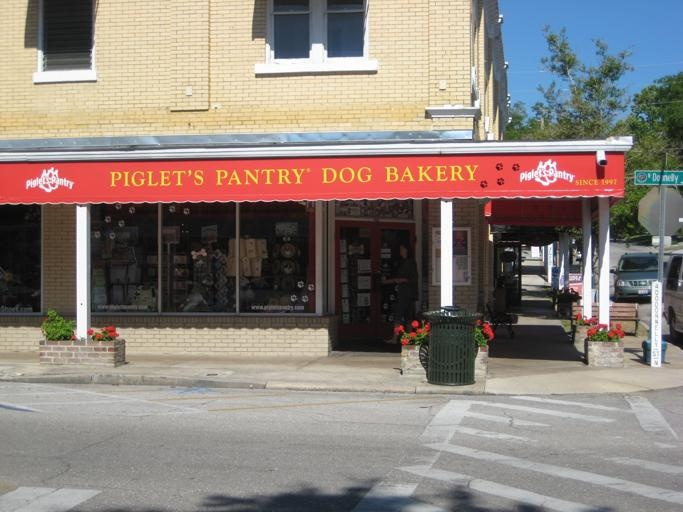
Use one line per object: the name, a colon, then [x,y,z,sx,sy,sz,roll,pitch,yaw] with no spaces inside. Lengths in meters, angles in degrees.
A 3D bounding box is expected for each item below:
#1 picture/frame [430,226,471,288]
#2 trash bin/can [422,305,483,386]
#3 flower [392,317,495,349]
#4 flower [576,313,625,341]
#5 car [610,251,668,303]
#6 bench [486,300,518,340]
picture/frame: [2.347,-0.016,19.845,0.890,1.245,0.063,-1,-1,23]
trash bin/can: [1.905,1.585,16.169,0.903,1.345,0.399,-1,-1,6]
flower: [1.587,1.424,17.323,1.187,0.494,1.170,-1,-2,2]
flower: [4.917,1.468,18.086,0.850,0.264,0.615,5,10,33]
car: [11.046,0.782,34.490,1.980,1.600,4.578,0,-2,11]
bench: [4.031,1.616,23.725,0.950,1.246,0.964,-1,1,10]
